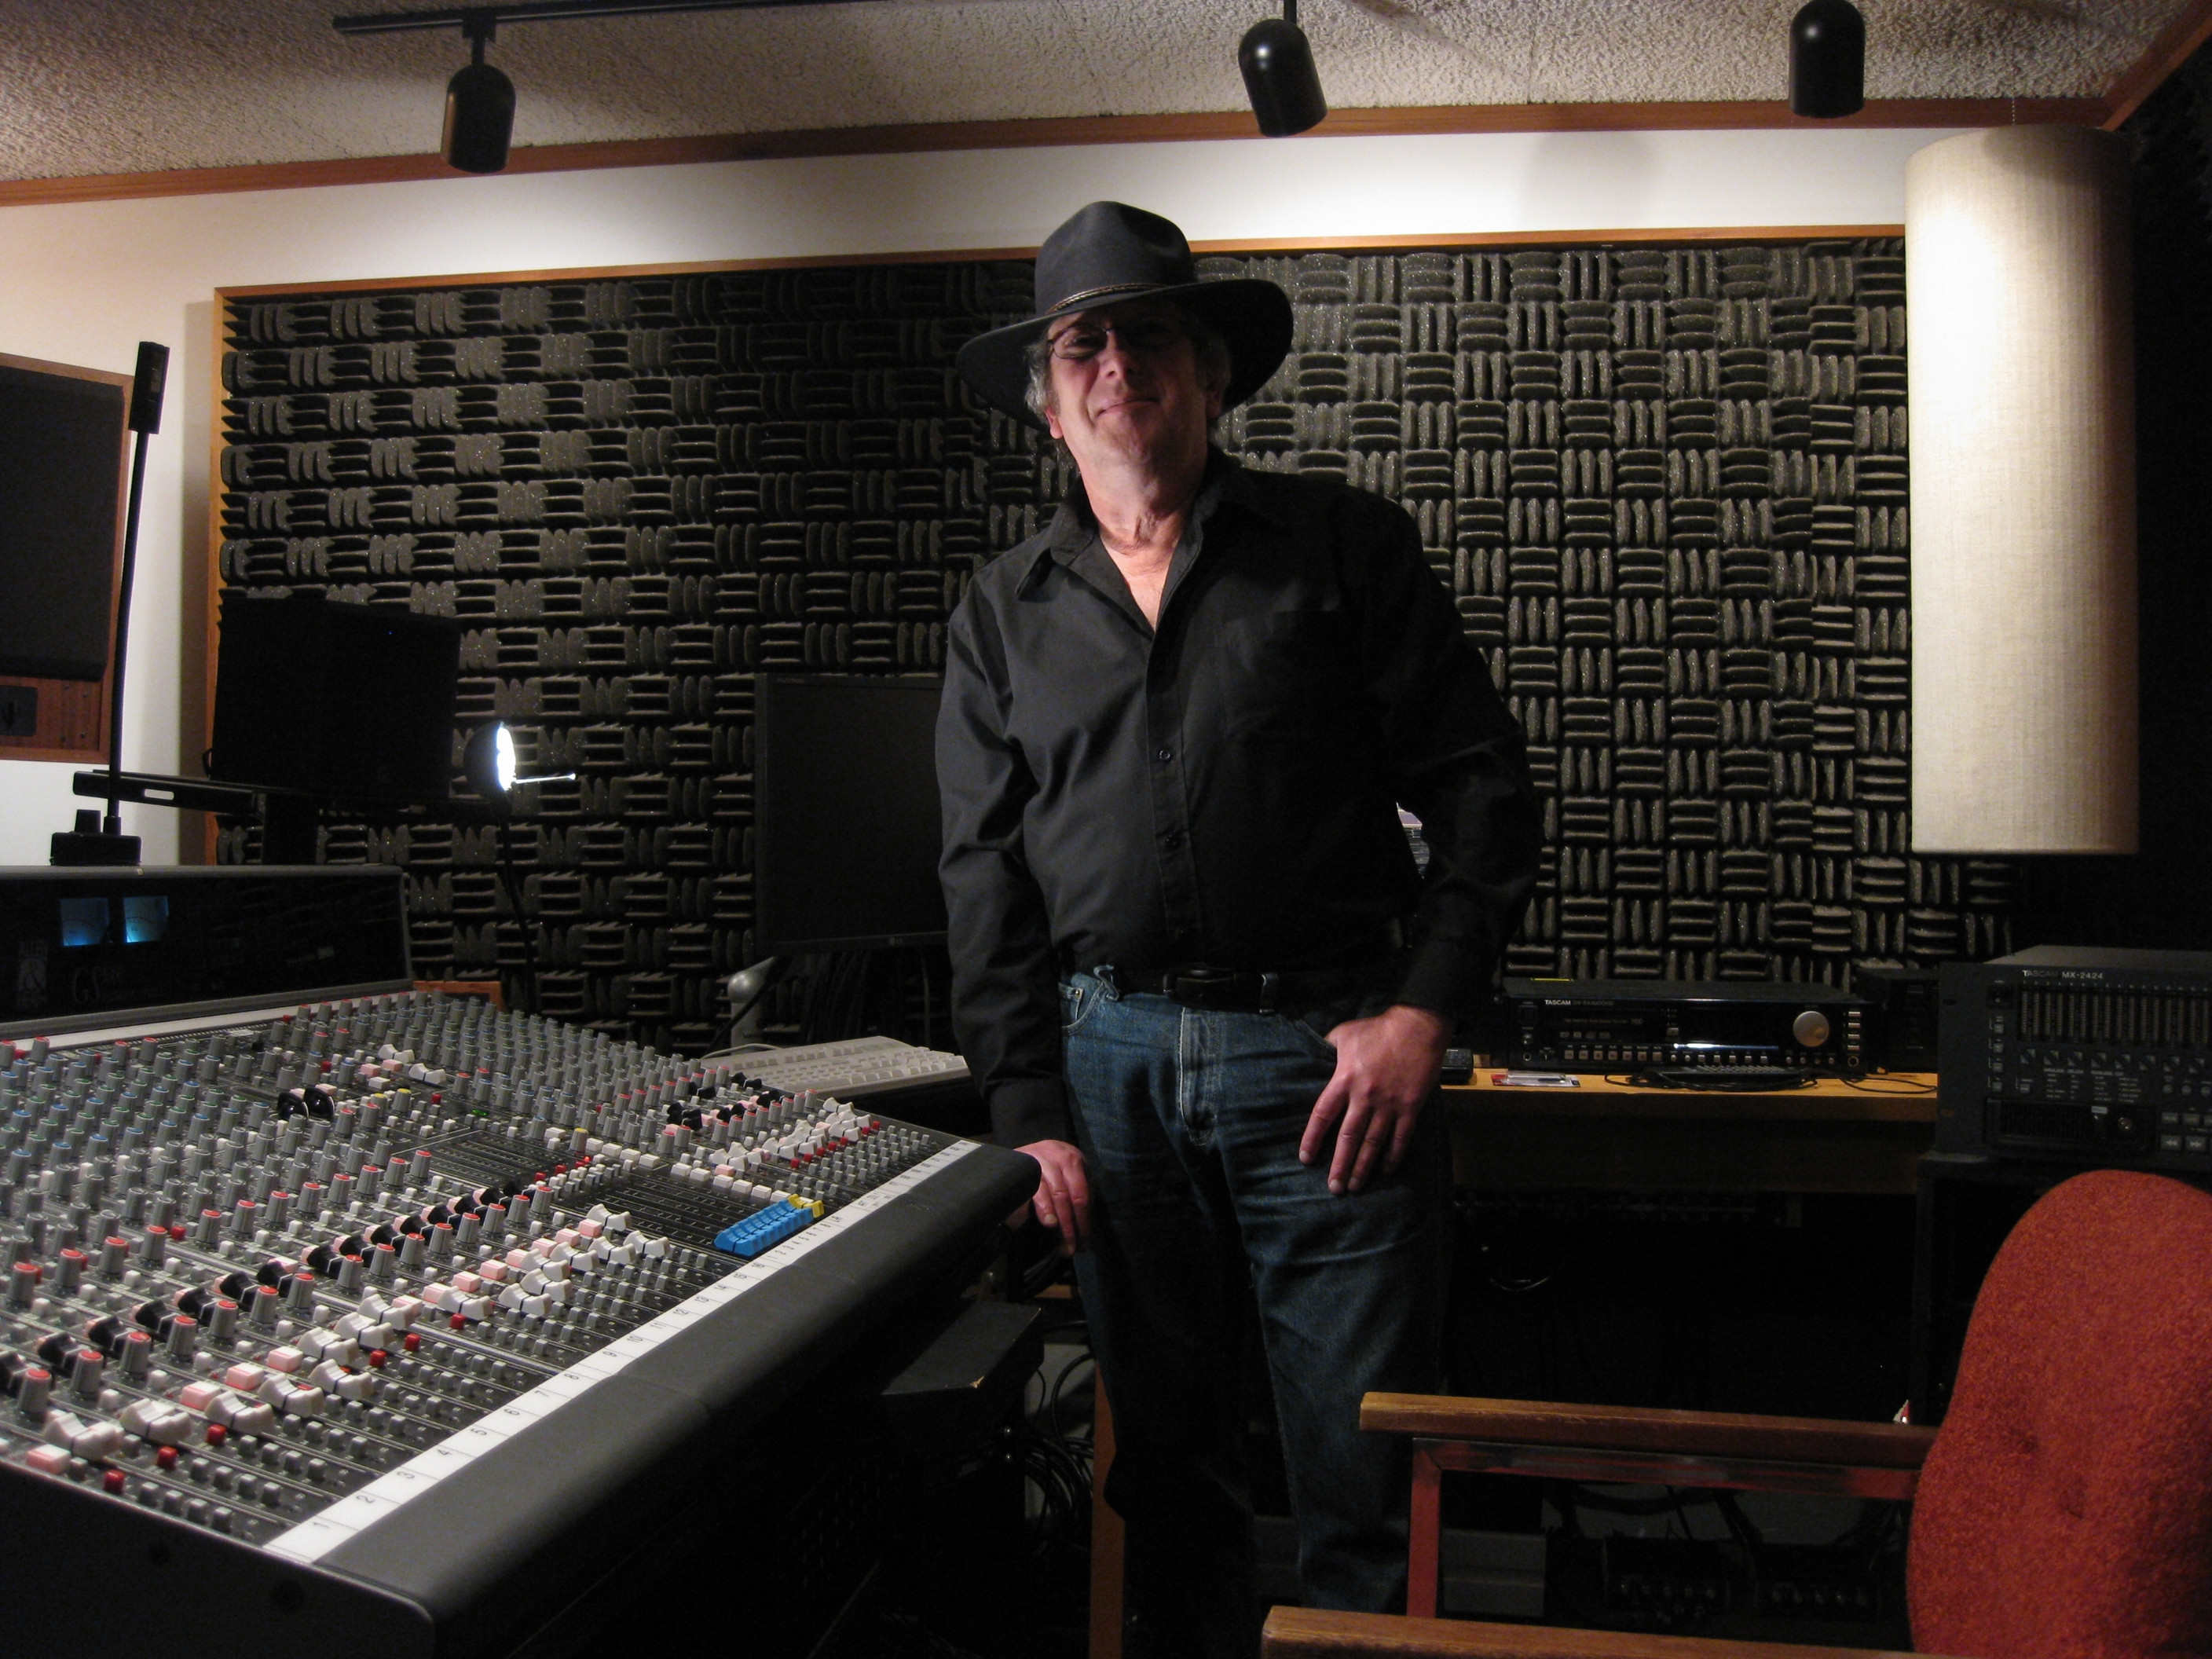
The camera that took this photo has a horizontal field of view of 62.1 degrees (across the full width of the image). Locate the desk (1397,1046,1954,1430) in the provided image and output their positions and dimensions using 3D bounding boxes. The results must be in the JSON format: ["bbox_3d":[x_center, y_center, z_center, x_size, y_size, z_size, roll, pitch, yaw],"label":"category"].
[{"bbox_3d":[1.063,0.767,3.501,0.990,0.858,0.519,1,-7,4],"label":"desk"}]

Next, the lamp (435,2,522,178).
[{"bbox_3d":[-1.407,-1.653,4.114,0.139,0.360,0.282,0,1,-19],"label":"lamp"}]

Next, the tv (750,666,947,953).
[{"bbox_3d":[-0.518,-0.036,3.679,0.617,0.634,0.048,2,-2,-28],"label":"tv"}]

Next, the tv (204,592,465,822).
[{"bbox_3d":[-1.599,-0.270,3.826,0.486,0.438,0.178,0,1,-29],"label":"tv"}]

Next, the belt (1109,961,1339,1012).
[{"bbox_3d":[0.146,0.217,2.547,0.333,0.064,0.042,1,1,13],"label":"belt"}]

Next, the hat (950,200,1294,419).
[{"bbox_3d":[0.073,-0.780,2.768,0.394,0.152,0.428,-14,-15,7],"label":"hat"}]
